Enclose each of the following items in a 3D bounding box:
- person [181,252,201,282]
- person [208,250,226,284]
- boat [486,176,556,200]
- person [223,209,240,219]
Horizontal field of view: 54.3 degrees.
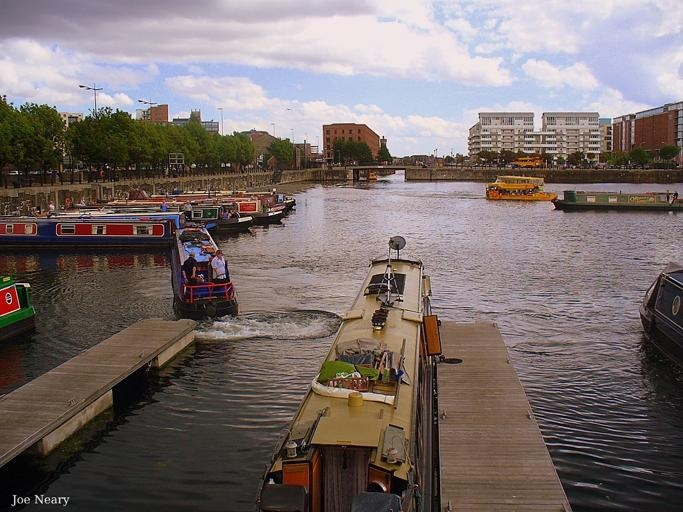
[{"bbox_3d":[-6.561,0.443,28.971,0.649,1.439,1.664,-3,13,-10],"label":"person"},{"bbox_3d":[-5.510,0.521,29.155,0.755,1.996,0.781,-6,22,-9],"label":"person"},{"bbox_3d":[30.837,-11.667,116.140,10.670,3.491,11.700,2,13,11],"label":"boat"},{"bbox_3d":[-10.928,-4.060,65.358,1.228,0.618,1.768,-1,3,-5],"label":"person"}]
